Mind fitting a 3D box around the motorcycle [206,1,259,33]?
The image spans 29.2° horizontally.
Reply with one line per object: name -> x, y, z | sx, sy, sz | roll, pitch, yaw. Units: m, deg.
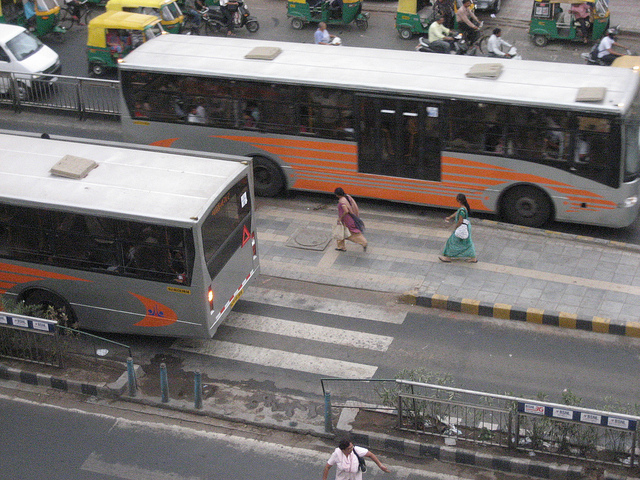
motorcycle -> -2.915, -7.296, 39.795 | 1.666, 0.958, 0.812 | 0, 42, 8

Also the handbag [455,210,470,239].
handbag -> 3.072, -0.354, 27.179 | 0.286, 0.715, 0.199 | 2, 35, 8

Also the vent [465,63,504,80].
vent -> 3.789, -3.953, 28.640 | 0.752, 0.126, 0.743 | 10, 33, 21

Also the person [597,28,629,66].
person -> 8.089, -5.388, 34.546 | 1.320, 1.072, 0.589 | -1, 18, 5

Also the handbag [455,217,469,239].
handbag -> 3.087, -0.267, 27.214 | 0.297, 0.528, 0.175 | -4, 35, 0

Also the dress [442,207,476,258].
dress -> 3.105, -0.146, 27.832 | 0.773, 1.458, 1.057 | 6, 33, 14

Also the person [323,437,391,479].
person -> 0.417, 3.922, 21.999 | 0.774, 0.789, 0.312 | -2, 35, 2

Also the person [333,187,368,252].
person -> 0.660, -0.452, 28.486 | 1.022, 1.447, 0.627 | 18, 51, 21

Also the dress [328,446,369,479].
dress -> 0.482, 3.991, 22.167 | 0.912, 0.654, 0.355 | -2, 10, -4

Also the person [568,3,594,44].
person -> 7.665, -6.666, 37.349 | 0.903, 1.443, 0.635 | -10, 52, 19

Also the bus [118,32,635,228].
bus -> -0.436, -2.946, 31.317 | 16.591, 4.171, 4.349 | 5, 30, 15

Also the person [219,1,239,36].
person -> -2.946, -7.179, 39.540 | 0.570, 1.270, 0.311 | -7, 52, -4

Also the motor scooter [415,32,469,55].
motor scooter -> 3.489, -5.557, 35.699 | 1.454, 0.838, 0.761 | -6, 55, 0

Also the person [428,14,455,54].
person -> 3.387, -5.885, 35.244 | 1.286, 0.733, 0.717 | -7, 43, 3

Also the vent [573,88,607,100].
vent -> 5.973, -3.275, 27.508 | 0.658, 0.123, 0.555 | 6, 32, 14

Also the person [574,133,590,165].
person -> 5.798, -2.057, 27.559 | 0.357, 0.695, 0.238 | 5, 36, 13

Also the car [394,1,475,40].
car -> 3.341, -6.905, 38.198 | 2.350, 1.237, 1.392 | 3, 29, 13

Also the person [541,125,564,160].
person -> 5.188, -2.215, 27.739 | 0.463, 0.778, 0.260 | 4, 36, 11

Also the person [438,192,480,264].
person -> 3.040, -0.288, 27.391 | 0.902, 1.597, 0.641 | -1, 35, 5

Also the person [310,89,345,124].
person -> 0.156, -3.201, 29.167 | 0.851, 0.718, 0.216 | 10, 25, 20

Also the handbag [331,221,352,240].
handbag -> 0.478, -0.225, 28.091 | 0.417, 0.356, 0.210 | 8, 20, 15

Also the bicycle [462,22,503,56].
bicycle -> 4.759, -5.834, 35.883 | 1.496, 0.825, 0.784 | 11, 41, 18
